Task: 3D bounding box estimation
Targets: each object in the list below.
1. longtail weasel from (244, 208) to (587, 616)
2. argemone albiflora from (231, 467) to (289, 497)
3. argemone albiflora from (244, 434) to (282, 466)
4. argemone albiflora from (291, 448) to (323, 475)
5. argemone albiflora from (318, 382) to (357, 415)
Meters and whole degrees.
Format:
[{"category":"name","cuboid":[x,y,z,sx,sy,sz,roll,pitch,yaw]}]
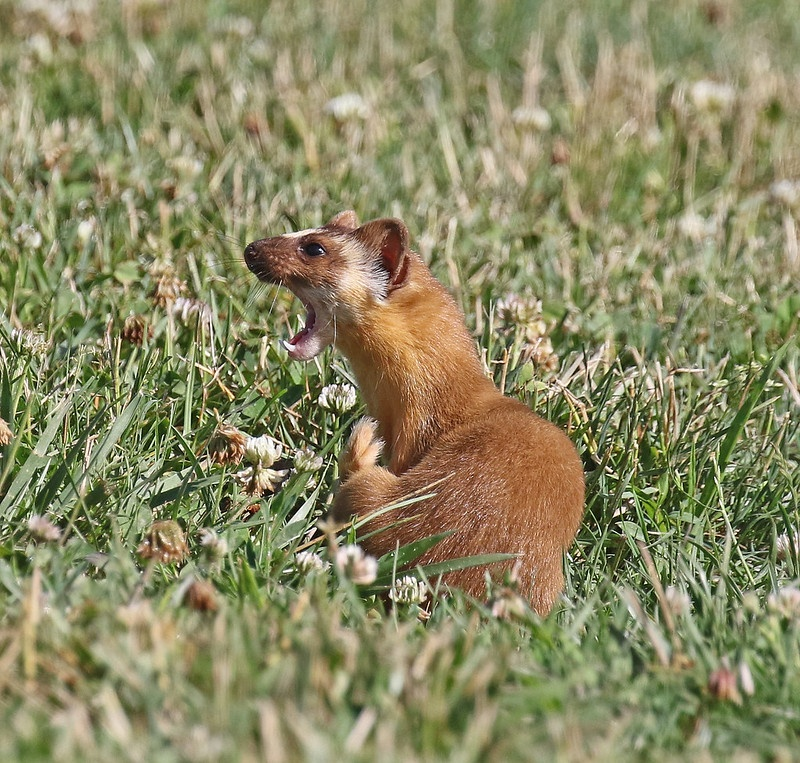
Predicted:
[{"category":"longtail weasel","cuboid":[0.035,0.113,2.791,0.670,1.311,0.680,-53,35,-3]},{"category":"argemone albiflora","cuboid":[-0.398,0.272,2.714,0.089,0.098,0.060,-6,78,28]},{"category":"argemone albiflora","cuboid":[-0.377,0.198,2.693,0.065,0.093,0.104,6,85,0]},{"category":"argemone albiflora","cuboid":[-0.262,0.210,2.782,0.060,0.074,0.074,41,90,-17]},{"category":"argemone albiflora","cuboid":[-0.200,0.067,3.156,0.085,0.100,0.114,13,106,15]}]
